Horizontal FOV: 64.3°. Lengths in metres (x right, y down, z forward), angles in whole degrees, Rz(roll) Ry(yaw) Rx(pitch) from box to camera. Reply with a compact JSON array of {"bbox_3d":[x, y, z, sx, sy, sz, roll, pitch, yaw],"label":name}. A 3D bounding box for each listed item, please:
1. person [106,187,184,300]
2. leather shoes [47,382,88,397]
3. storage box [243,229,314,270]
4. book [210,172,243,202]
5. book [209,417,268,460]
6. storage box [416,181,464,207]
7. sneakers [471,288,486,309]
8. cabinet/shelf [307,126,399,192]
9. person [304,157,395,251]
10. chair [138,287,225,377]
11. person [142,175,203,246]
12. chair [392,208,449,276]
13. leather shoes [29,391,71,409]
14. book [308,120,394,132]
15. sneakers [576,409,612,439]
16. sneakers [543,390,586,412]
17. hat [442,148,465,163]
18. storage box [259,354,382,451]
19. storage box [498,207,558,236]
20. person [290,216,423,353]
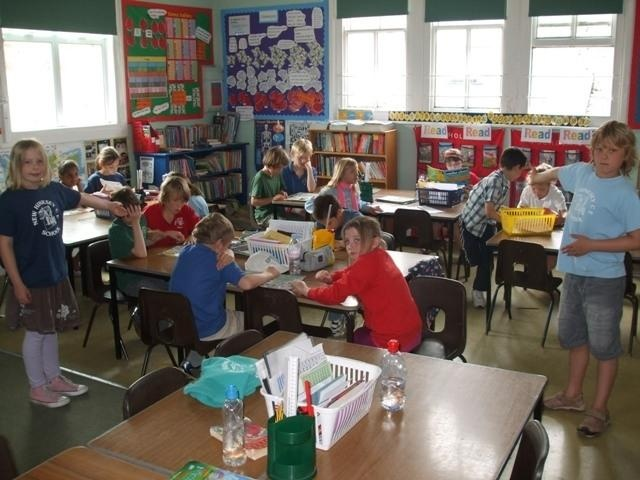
[{"bbox_3d":[-1.411,0.048,4.108,0.508,0.985,0.419,-5,38,-17],"label":"person"},{"bbox_3d":[-1.793,1.048,3.600,0.228,0.095,0.094,4,8,-10],"label":"leather shoes"},{"bbox_3d":[-0.361,0.067,3.850,0.395,0.190,0.272,9,14,30],"label":"storage box"},{"bbox_3d":[-1.568,-0.891,8.408,0.180,0.223,0.486,1,17,29],"label":"book"},{"bbox_3d":[-0.295,0.720,1.830,0.128,0.036,0.133,1,3,23],"label":"book"},{"bbox_3d":[1.329,-0.550,5.750,0.404,0.179,0.308,5,10,28],"label":"storage box"},{"bbox_3d":[1.634,0.609,5.223,0.080,0.181,0.246,-5,2,-12],"label":"sneakers"},{"bbox_3d":[0.522,-1.168,7.125,1.193,1.102,0.369,2,4,24],"label":"cabinet/shelf"},{"bbox_3d":[0.206,-0.212,5.478,0.420,1.341,0.770,24,28,37],"label":"person"},{"bbox_3d":[-0.980,0.622,3.552,0.557,0.660,0.531,-8,15,-43],"label":"chair"},{"bbox_3d":[-1.316,-0.225,4.543,0.533,0.719,0.380,-8,25,-36],"label":"person"},{"bbox_3d":[1.126,0.057,5.651,0.513,0.871,0.530,7,19,34],"label":"chair"},{"bbox_3d":[-1.867,1.095,3.521,0.241,0.109,0.123,4,7,4],"label":"leather shoes"},{"bbox_3d":[0.472,-1.716,7.668,1.201,0.165,0.284,6,15,25],"label":"book"},{"bbox_3d":[1.761,1.165,3.265,0.103,0.113,0.265,0,13,45],"label":"sneakers"},{"bbox_3d":[1.671,1.112,3.497,0.271,0.121,0.118,1,13,22],"label":"sneakers"},{"bbox_3d":[1.711,-1.078,6.479,0.287,0.200,0.384,2,12,15],"label":"hat"},{"bbox_3d":[0.088,0.623,1.986,0.280,0.137,0.368,6,13,30],"label":"storage box"},{"bbox_3d":[1.897,-0.179,4.641,0.371,0.167,0.268,1,11,7],"label":"storage box"},{"bbox_3d":[0.262,0.418,3.330,0.781,1.090,0.469,-1,10,20],"label":"person"}]
